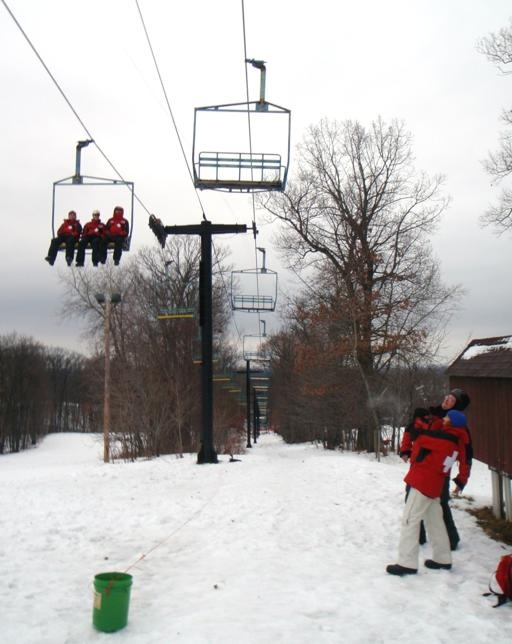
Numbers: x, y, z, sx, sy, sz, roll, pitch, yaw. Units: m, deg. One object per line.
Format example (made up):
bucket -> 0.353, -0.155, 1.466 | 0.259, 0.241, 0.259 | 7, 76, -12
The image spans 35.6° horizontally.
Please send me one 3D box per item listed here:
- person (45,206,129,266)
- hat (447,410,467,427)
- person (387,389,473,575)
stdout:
person -> -3.529, -1.769, 16.973 | 1.736, 1.155, 0.807 | -3, 0, 21
hat -> 2.271, 1.094, 9.071 | 0.213, 0.216, 0.208 | -2, 0, 4
person -> 2.013, 1.839, 9.176 | 0.987, 1.416, 0.668 | -2, 1, -29
